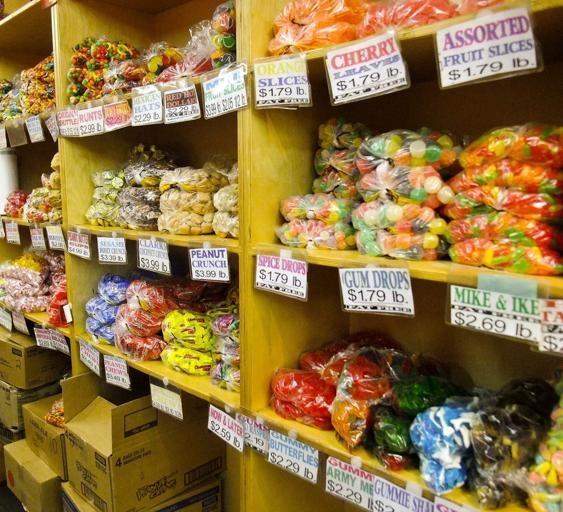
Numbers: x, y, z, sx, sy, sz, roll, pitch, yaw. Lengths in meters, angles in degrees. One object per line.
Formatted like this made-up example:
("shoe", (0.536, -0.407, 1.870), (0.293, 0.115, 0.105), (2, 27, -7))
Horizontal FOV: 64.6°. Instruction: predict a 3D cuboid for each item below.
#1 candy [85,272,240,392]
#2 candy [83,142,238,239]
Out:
("candy", (-0.382, 0.232, 1.622), (0.848, 0.293, 0.304), (3, 10, 35))
("candy", (-0.420, -0.249, 1.579), (0.270, 0.350, 0.852), (-10, 11, -42))
